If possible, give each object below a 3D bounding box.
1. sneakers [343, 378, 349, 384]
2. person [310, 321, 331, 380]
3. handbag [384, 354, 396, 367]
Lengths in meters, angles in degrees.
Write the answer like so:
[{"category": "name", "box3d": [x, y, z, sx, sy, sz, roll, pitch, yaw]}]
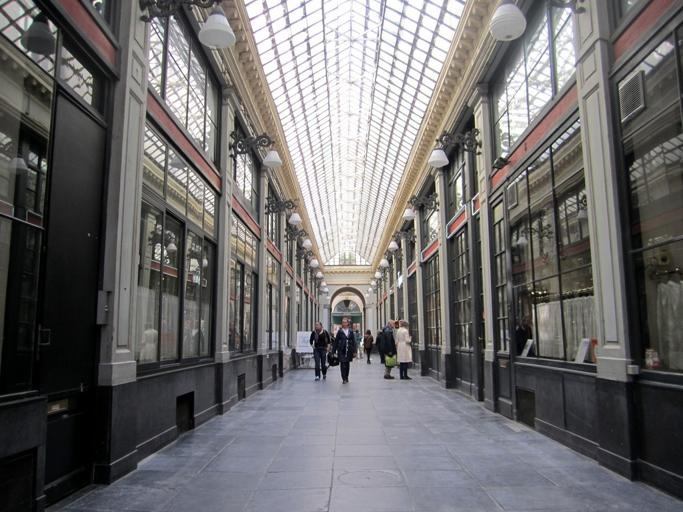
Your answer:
[{"category": "sneakers", "box3d": [0.136, 4.341, 16.410, 0.155, 0.178, 0.436, -2, -13, 8]}, {"category": "person", "box3d": [-0.831, 3.586, 17.949, 0.674, 2.318, 0.918, -2, 3, -8]}, {"category": "handbag", "box3d": [1.930, 4.104, 18.431, 0.418, 0.491, 0.409, 3, -12, -12]}]
